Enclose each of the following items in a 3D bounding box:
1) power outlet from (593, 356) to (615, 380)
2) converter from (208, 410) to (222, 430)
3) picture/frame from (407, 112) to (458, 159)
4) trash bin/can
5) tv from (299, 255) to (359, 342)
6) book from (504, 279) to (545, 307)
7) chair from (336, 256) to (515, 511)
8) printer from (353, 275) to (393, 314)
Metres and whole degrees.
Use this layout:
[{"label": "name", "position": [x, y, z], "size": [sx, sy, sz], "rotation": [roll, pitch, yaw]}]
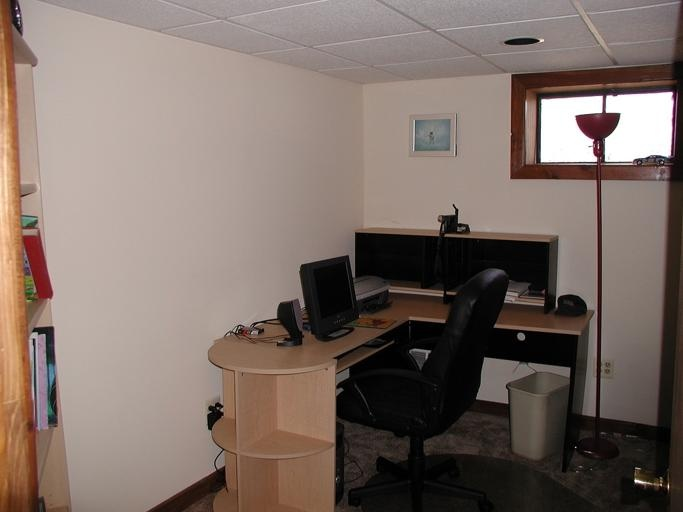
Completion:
[{"label": "power outlet", "position": [1.980, 0.834, 4.044], "size": [0.190, 0.175, 0.047], "rotation": [9, 5, 34]}, {"label": "converter", "position": [-0.778, 1.010, 3.371], "size": [0.026, 0.097, 0.108], "rotation": [-1, -7, 39]}, {"label": "picture/frame", "position": [0.765, -0.990, 4.447], "size": [0.399, 0.339, 0.028], "rotation": [4, 4, 25]}, {"label": "trash bin/can", "position": [1.331, 1.111, 3.913], "size": [0.288, 0.395, 0.457], "rotation": [1, -5, 22]}, {"label": "tv", "position": [-0.073, 0.289, 3.461], "size": [0.172, 0.483, 0.444], "rotation": [-13, 1, 39]}, {"label": "book", "position": [1.354, 0.281, 4.009], "size": [0.227, 0.097, 0.308], "rotation": [3, 4, 19]}, {"label": "chair", "position": [0.550, 0.698, 3.891], "size": [1.315, 1.978, 1.238], "rotation": [3, 4, 27]}, {"label": "printer", "position": [0.233, 0.274, 3.958], "size": [0.249, 0.119, 0.251], "rotation": [2, 12, 41]}]
